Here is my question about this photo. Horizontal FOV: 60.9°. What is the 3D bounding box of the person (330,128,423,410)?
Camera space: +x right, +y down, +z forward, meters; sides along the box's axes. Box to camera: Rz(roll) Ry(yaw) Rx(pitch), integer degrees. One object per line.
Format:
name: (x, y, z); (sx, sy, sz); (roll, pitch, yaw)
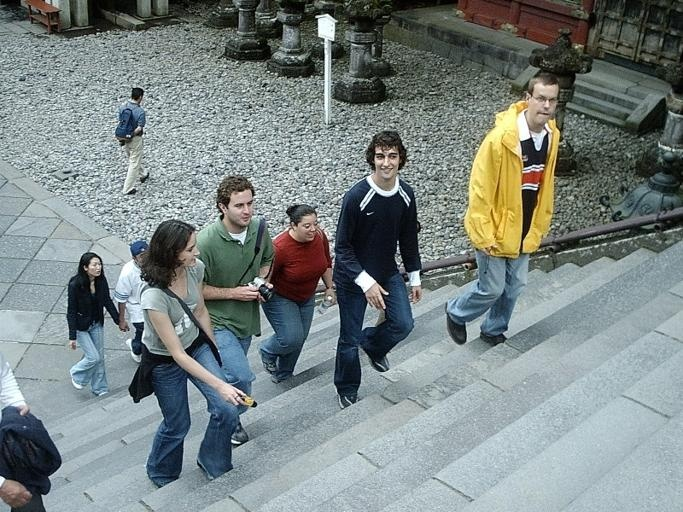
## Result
person: (0.250, 0.225, 3.737); (0.631, 1.539, 0.469); (-5, 29, -11)

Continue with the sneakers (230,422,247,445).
sneakers: (-0.663, 1.153, 3.732); (0.065, 0.076, 0.179); (0, 29, -10)

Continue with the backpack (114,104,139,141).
backpack: (-3.174, -1.951, 8.543); (0.273, 0.538, 0.314); (17, 8, 30)

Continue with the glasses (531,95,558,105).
glasses: (1.270, -0.984, 3.637); (0.150, 0.048, 0.064); (5, 29, 6)

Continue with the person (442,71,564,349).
person: (1.128, -0.243, 4.042); (0.526, 1.981, 0.662); (19, 33, 29)

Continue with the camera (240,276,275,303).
camera: (-0.543, 0.208, 3.825); (0.150, 0.101, 0.163); (-35, 66, -30)

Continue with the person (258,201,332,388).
person: (-0.361, 0.322, 4.279); (0.640, 1.466, 0.508); (-3, 22, -20)

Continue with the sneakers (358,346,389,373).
sneakers: (0.226, 0.728, 4.056); (0.099, 0.107, 0.265); (-43, 71, 0)

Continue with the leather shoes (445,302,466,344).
leather shoes: (0.853, 0.497, 4.347); (0.132, 0.313, 0.132); (-26, 14, -27)

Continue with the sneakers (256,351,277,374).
sneakers: (-0.584, 0.839, 4.539); (0.113, 0.199, 0.153); (-28, 54, -11)
